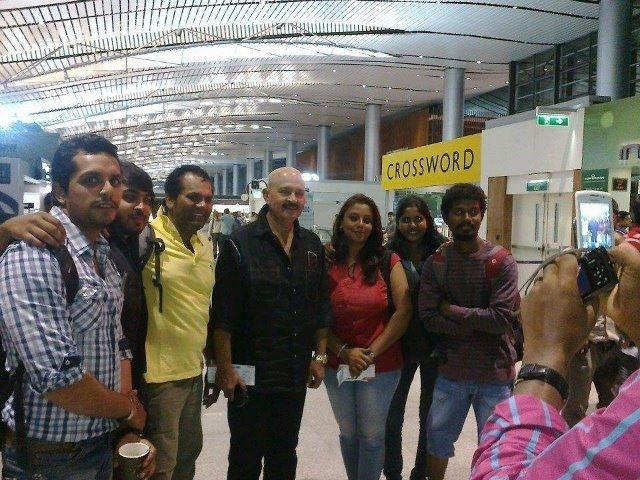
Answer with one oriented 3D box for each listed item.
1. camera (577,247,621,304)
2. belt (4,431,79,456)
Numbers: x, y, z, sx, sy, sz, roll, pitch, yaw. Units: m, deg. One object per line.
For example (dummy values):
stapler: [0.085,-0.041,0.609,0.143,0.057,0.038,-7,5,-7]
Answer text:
camera: [0.809,0.097,1.434,0.101,0.141,0.151,0,6,27]
belt: [-0.970,0.709,1.707,0.117,0.033,0.126,-1,-2,29]
